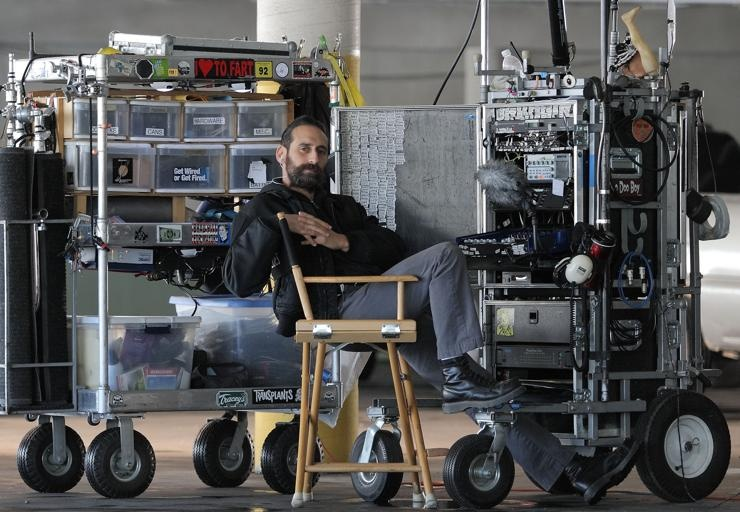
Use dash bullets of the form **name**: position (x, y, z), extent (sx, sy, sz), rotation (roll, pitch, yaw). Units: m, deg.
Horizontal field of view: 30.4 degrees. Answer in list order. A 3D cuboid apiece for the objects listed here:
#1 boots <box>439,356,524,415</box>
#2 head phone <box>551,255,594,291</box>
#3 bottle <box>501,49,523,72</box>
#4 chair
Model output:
- **boots**: position (0.560, 0.730, 7.845), extent (0.584, 0.415, 0.224), rotation (-6, 1, 0)
- **head phone**: position (1.230, 0.073, 8.268), extent (0.227, 0.172, 0.138), rotation (-42, -38, 19)
- **bottle**: position (0.926, -1.281, 8.953), extent (0.182, 0.183, 0.108), rotation (0, 4, 10)
- **chair**: position (-0.093, 0.618, 8.119), extent (0.929, 1.753, 0.925), rotation (1, 3, -4)
